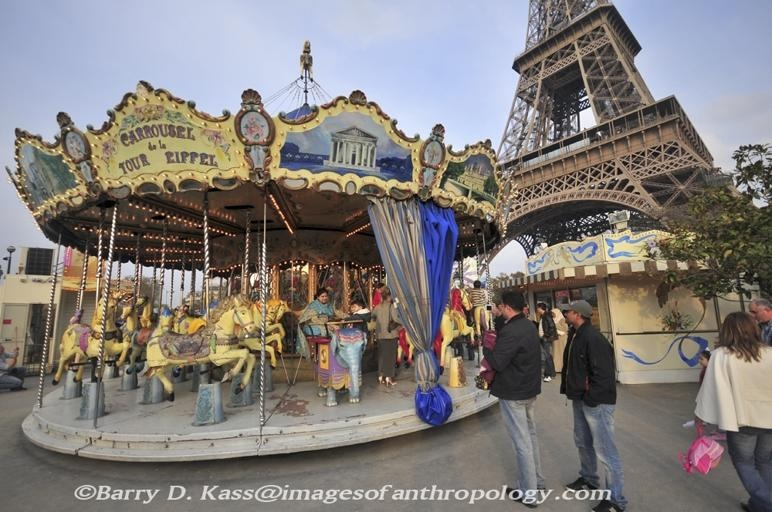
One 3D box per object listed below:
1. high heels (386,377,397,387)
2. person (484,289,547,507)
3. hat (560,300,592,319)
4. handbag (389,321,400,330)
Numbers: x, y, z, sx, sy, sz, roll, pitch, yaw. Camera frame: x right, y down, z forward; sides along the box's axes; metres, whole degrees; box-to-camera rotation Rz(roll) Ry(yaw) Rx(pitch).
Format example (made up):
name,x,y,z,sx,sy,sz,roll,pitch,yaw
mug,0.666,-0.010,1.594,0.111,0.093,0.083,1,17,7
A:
name,x,y,z,sx,sy,sz,roll,pitch,yaw
high heels,0.125,2.730,10.287,0.095,0.150,0.290,2,2,22
person,1.940,2.050,7.002,0.836,2.989,0.766,3,11,27
hat,2.841,0.788,7.074,0.382,0.201,0.248,4,2,39
handbag,0.209,1.492,10.241,0.130,0.210,0.344,4,12,29
